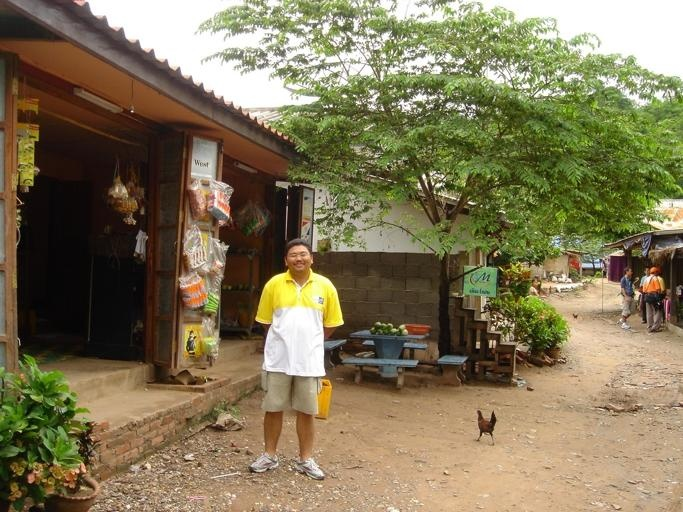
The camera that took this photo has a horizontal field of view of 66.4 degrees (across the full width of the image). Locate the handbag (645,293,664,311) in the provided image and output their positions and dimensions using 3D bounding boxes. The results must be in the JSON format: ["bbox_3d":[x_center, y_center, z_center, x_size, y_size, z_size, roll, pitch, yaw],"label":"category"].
[{"bbox_3d":[9.627,1.370,15.855,0.633,0.573,0.455,6,3,24],"label":"handbag"}]

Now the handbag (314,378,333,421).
[{"bbox_3d":[-0.240,1.543,5.654,0.223,0.331,0.211,3,0,-10],"label":"handbag"}]

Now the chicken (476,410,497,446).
[{"bbox_3d":[1.842,2.157,6.613,0.142,0.363,0.477,2,-14,-13],"label":"chicken"}]

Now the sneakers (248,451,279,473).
[{"bbox_3d":[-0.760,2.039,5.218,0.315,0.135,0.143,-3,22,-39],"label":"sneakers"}]

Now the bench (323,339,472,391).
[{"bbox_3d":[1.120,2.060,9.843,1.516,0.340,1.479,2,4,20],"label":"bench"}]

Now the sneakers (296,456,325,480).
[{"bbox_3d":[-0.308,2.077,5.187,0.329,0.150,0.140,10,12,29],"label":"sneakers"}]

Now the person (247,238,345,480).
[{"bbox_3d":[-0.441,1.003,5.087,0.828,2.008,0.427,4,1,-8],"label":"person"}]

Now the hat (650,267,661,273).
[{"bbox_3d":[9.705,0.392,16.189,0.251,0.167,0.343,-7,-13,33],"label":"hat"}]
